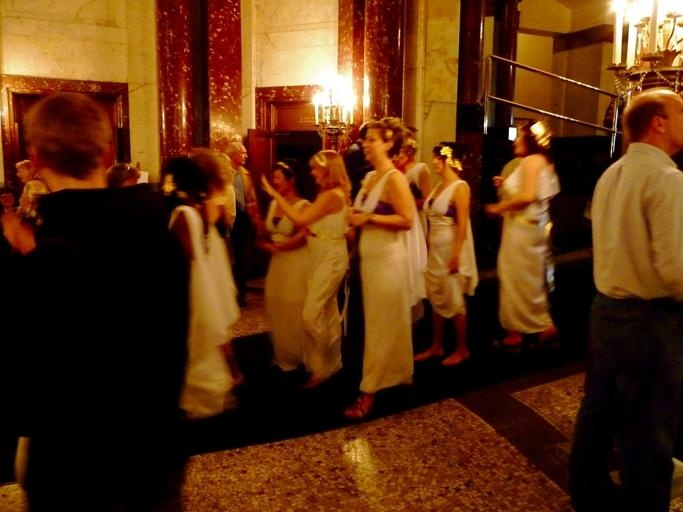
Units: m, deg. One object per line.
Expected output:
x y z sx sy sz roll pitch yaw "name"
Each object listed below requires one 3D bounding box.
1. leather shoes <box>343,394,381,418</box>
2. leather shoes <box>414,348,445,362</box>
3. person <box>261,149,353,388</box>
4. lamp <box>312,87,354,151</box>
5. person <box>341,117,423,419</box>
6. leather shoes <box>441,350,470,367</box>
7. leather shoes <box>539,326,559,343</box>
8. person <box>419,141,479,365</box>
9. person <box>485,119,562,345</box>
0.113 0.971 3.807 0.216 0.213 0.104 9 -1 -15 "leather shoes"
0.692 0.799 4.746 0.264 0.119 0.090 3 5 -18 "leather shoes"
-0.183 0.099 4.237 0.502 1.667 0.624 0 12 4 "person"
-0.070 -1.492 6.915 0.446 0.881 0.464 0 1 -5 "lamp"
0.238 0.069 3.855 0.617 1.893 0.379 -8 14 -31 "person"
0.891 0.836 4.648 0.236 0.186 0.098 -9 57 -3 "leather shoes"
1.697 0.653 4.849 0.152 0.114 0.063 -5 34 -21 "leather shoes"
0.842 -0.013 4.665 0.436 1.713 0.545 2 13 14 "person"
1.478 -0.139 4.772 0.594 1.853 0.493 2 13 12 "person"
